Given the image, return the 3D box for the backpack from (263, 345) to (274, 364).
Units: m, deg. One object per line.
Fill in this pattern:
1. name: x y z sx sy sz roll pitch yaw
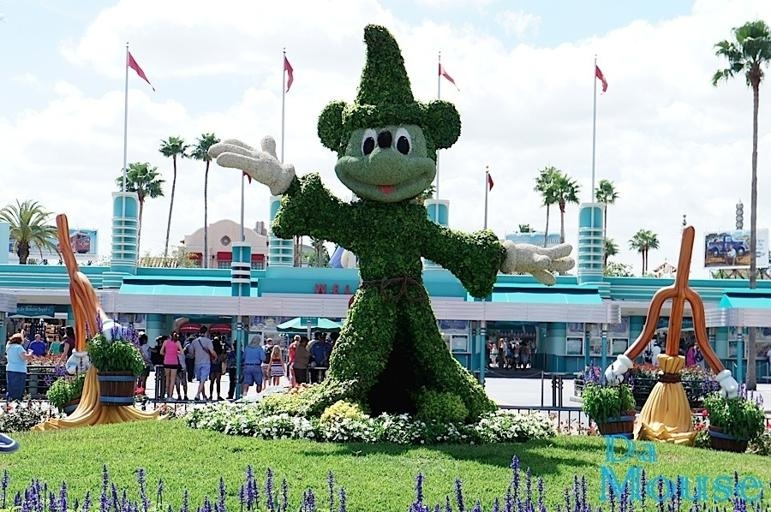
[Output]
1. backpack: -3.736 3.195 46.818 0.432 0.600 0.212 0 8 -24

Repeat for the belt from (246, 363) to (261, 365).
1. belt: -3.799 3.143 42.328 0.440 0.108 0.111 1 -5 -19

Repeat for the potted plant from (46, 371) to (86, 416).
1. potted plant: -8.046 3.500 37.534 1.011 1.013 0.971 -2 3 -38
